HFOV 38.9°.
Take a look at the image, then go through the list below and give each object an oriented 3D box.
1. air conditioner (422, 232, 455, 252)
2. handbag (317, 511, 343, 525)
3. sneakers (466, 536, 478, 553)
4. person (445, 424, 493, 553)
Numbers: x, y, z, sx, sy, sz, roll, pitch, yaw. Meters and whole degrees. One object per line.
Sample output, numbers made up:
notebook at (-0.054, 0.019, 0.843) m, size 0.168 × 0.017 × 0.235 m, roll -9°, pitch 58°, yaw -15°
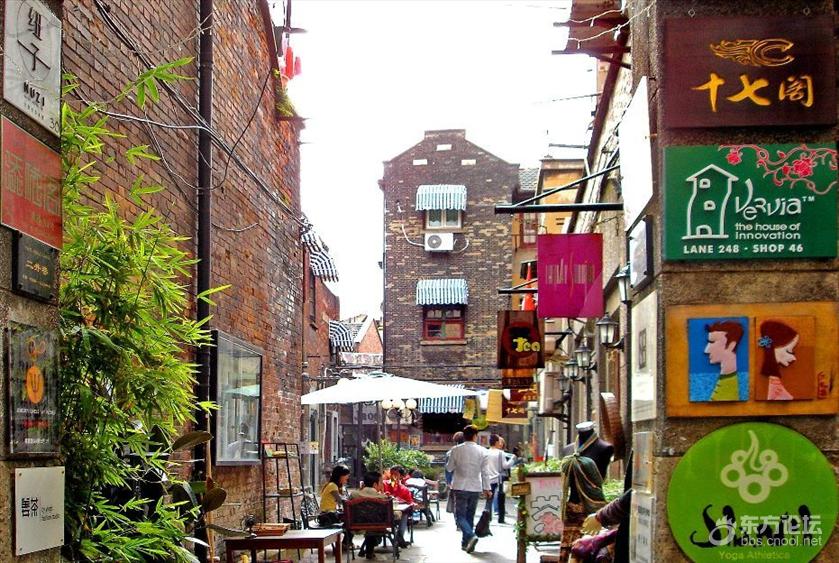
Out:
air conditioner at (0.629, -1.342, 40.544) m, size 0.967 × 0.711 × 0.584 m, roll 0°, pitch -6°, yaw 0°
handbag at (-1.236, 3.293, 16.456) m, size 0.266 × 0.191 × 0.207 m, roll -6°, pitch 1°, yaw 0°
sneakers at (0.742, 3.713, 16.758) m, size 0.100 × 0.297 × 0.118 m, roll 5°, pitch 18°, yaw -33°
person at (0.708, 3.054, 17.559) m, size 0.590 × 1.870 × 1.563 m, roll -2°, pitch -11°, yaw 4°
